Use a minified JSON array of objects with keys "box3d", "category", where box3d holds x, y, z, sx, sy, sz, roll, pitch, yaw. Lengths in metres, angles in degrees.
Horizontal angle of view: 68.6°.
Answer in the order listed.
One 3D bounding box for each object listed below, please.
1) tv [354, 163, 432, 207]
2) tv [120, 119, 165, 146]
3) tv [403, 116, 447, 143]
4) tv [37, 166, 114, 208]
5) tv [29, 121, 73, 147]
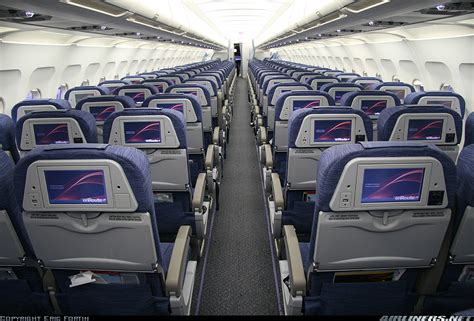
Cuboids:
[{"box3d":[1.246,0.205,2.803,0.029,0.393,0.643,23,-18,-33],"category":"tv"},{"box3d":[-1.055,-0.314,3.876,0.580,0.302,0.054,1,3,24],"category":"tv"},{"box3d":[2.287,-0.376,4.218,0.051,0.326,0.501,2,1,-29],"category":"tv"},{"box3d":[-1.268,0.205,2.757,0.661,0.376,0.048,-3,-1,17],"category":"tv"},{"box3d":[-2.147,-0.320,4.002,0.442,0.257,0.039,0,23,0],"category":"tv"}]
